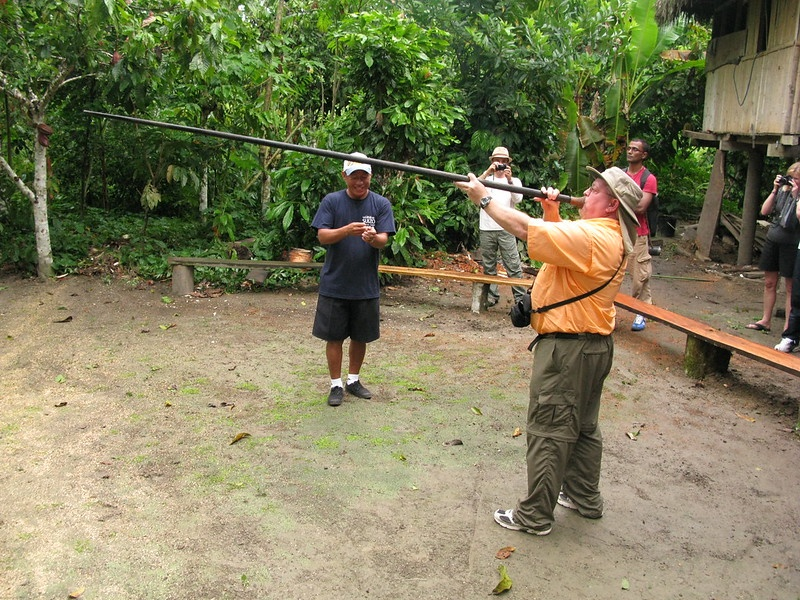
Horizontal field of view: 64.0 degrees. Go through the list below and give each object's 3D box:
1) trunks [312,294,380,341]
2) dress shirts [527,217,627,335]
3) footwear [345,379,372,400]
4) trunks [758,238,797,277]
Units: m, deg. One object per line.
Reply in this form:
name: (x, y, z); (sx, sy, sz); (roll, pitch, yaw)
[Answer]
trunks: (-0.449, 0.076, 5.837); (0.667, 0.624, 0.380); (2, 41, -7)
dress shirts: (1.217, -0.108, 4.465); (0.602, 0.713, 0.795); (2, -4, 27)
footwear: (-0.382, 0.826, 6.048); (0.286, 0.122, 0.111); (12, 18, 36)
trunks: (4.533, -0.504, 7.637); (0.371, 0.406, 0.193); (14, 17, 41)
